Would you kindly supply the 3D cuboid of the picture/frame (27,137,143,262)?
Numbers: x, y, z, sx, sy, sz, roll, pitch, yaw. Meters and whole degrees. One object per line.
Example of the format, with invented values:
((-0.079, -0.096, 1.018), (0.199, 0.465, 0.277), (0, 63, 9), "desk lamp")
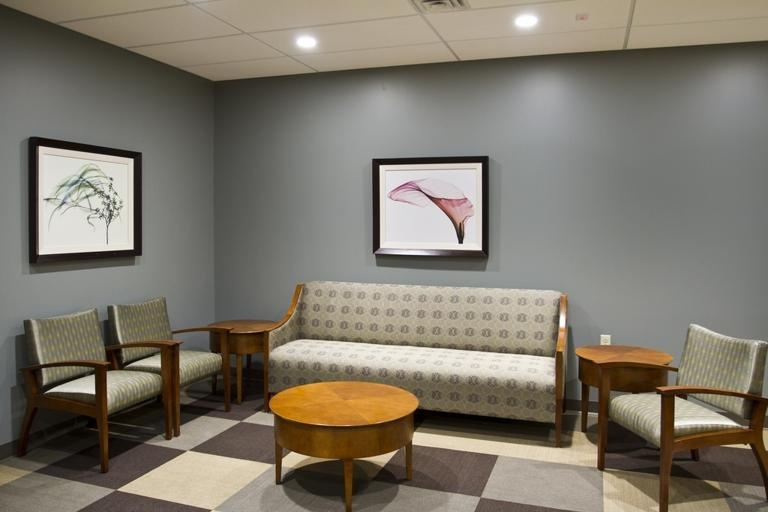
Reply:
((-2.923, -0.555, 5.054), (0.095, 1.229, 1.269), (3, 3, 29), "picture/frame")

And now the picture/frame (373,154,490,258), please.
((0.573, -0.564, 5.758), (1.153, 0.965, 0.082), (1, 5, 17), "picture/frame")

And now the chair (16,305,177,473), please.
((-2.593, 1.128, 4.705), (1.195, 1.210, 0.765), (1, 5, 16), "chair")

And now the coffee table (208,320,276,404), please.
((-1.530, 1.026, 5.702), (0.814, 0.800, 0.825), (2, 3, 31), "coffee table")

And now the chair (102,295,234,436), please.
((-2.145, 1.041, 5.713), (1.188, 1.547, 1.235), (-1, 0, 23), "chair")

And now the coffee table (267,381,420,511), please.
((-0.201, 1.356, 4.102), (0.885, 0.494, 0.895), (2, 2, 39), "coffee table")
